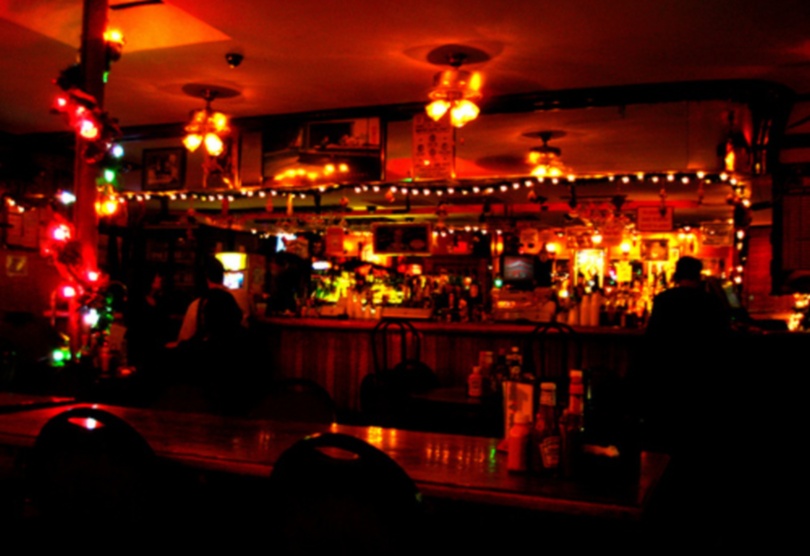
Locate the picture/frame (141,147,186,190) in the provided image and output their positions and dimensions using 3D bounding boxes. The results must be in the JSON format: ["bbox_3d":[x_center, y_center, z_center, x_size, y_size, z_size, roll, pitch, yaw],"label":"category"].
[{"bbox_3d":[-2.731,-1.235,9.061,0.530,0.454,0.077,2,-1,17],"label":"picture/frame"}]

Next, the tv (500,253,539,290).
[{"bbox_3d":[2.090,-0.128,14.516,0.601,0.626,0.649,3,6,5],"label":"tv"}]

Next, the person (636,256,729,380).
[{"bbox_3d":[2.367,0.484,6.560,0.598,1.425,0.508,5,30,31],"label":"person"}]

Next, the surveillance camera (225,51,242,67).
[{"bbox_3d":[-1.475,-1.903,6.939,0.121,0.078,0.116,0,-4,1],"label":"surveillance camera"}]
